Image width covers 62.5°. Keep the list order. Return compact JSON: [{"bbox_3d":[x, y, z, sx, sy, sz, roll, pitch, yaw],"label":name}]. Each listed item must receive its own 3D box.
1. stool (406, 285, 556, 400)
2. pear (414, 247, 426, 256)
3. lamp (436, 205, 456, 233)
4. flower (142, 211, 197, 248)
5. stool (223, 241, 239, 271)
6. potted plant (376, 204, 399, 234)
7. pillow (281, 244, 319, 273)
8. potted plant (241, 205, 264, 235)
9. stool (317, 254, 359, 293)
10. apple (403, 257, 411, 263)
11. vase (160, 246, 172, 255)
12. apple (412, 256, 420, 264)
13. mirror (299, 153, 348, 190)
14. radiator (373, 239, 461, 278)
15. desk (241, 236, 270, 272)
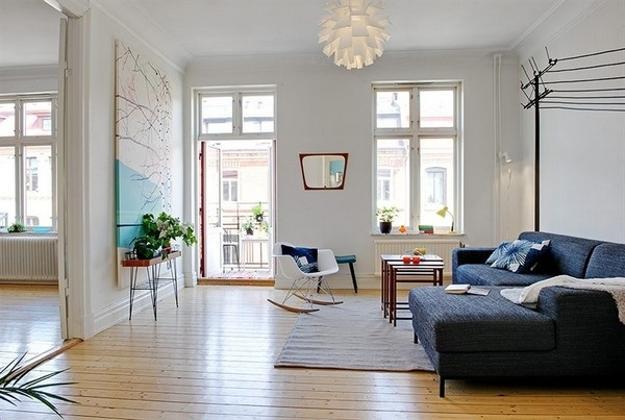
[{"bbox_3d":[1.745,1.361,5.501,1.017,0.566,1.065,-2,3,-3],"label":"stool"},{"bbox_3d":[1.491,0.588,7.165,0.158,0.086,0.128,3,-7,0],"label":"pear"},{"bbox_3d":[2.188,0.154,8.435,0.284,0.437,0.477,1,5,14],"label":"lamp"},{"bbox_3d":[-2.101,0.280,7.443,0.579,0.342,0.572,8,-1,-44],"label":"flower"},{"bbox_3d":[-1.641,0.879,10.324,0.473,0.654,0.478,-1,-6,-4],"label":"stool"},{"bbox_3d":[1.245,0.171,8.559,0.380,0.447,0.319,1,5,7],"label":"potted plant"},{"bbox_3d":[-0.210,0.728,7.586,0.429,0.308,0.149,1,-1,-31],"label":"pillow"},{"bbox_3d":[-1.264,0.206,10.652,0.468,0.579,0.543,-2,5,-23],"label":"potted plant"},{"bbox_3d":[0.341,1.017,8.371,0.591,0.796,0.612,-3,-6,5],"label":"stool"},{"bbox_3d":[1.235,0.659,6.795,0.075,0.074,0.077,5,-4,-3],"label":"apple"},{"bbox_3d":[-2.113,0.581,7.368,0.086,0.066,0.098,2,3,17],"label":"vase"},{"bbox_3d":[1.357,0.660,6.739,0.091,0.087,0.091,1,-6,4],"label":"apple"},{"bbox_3d":[0.203,-0.650,8.512,0.605,0.441,0.029,0,0,1],"label":"mirror"},{"bbox_3d":[1.710,0.836,8.522,1.444,0.718,0.234,-1,9,1],"label":"radiator"},{"bbox_3d":[-1.362,0.868,10.617,0.695,0.725,0.806,0,-5,32],"label":"desk"}]
